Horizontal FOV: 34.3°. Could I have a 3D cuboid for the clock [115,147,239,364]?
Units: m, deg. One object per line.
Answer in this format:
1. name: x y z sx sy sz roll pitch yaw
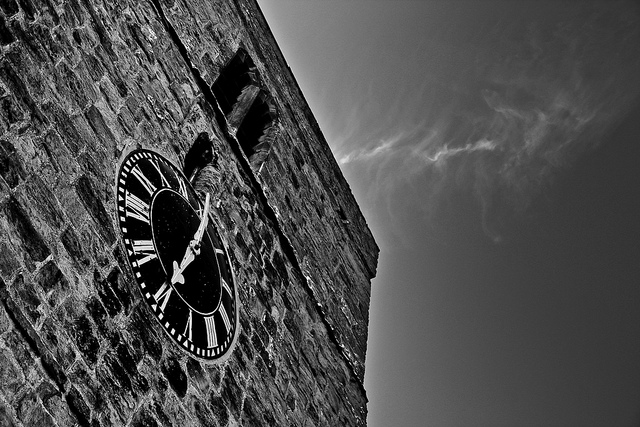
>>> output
1. clock: -1.609 0.530 11.304 0.185 1.955 1.661 -22 -53 17
